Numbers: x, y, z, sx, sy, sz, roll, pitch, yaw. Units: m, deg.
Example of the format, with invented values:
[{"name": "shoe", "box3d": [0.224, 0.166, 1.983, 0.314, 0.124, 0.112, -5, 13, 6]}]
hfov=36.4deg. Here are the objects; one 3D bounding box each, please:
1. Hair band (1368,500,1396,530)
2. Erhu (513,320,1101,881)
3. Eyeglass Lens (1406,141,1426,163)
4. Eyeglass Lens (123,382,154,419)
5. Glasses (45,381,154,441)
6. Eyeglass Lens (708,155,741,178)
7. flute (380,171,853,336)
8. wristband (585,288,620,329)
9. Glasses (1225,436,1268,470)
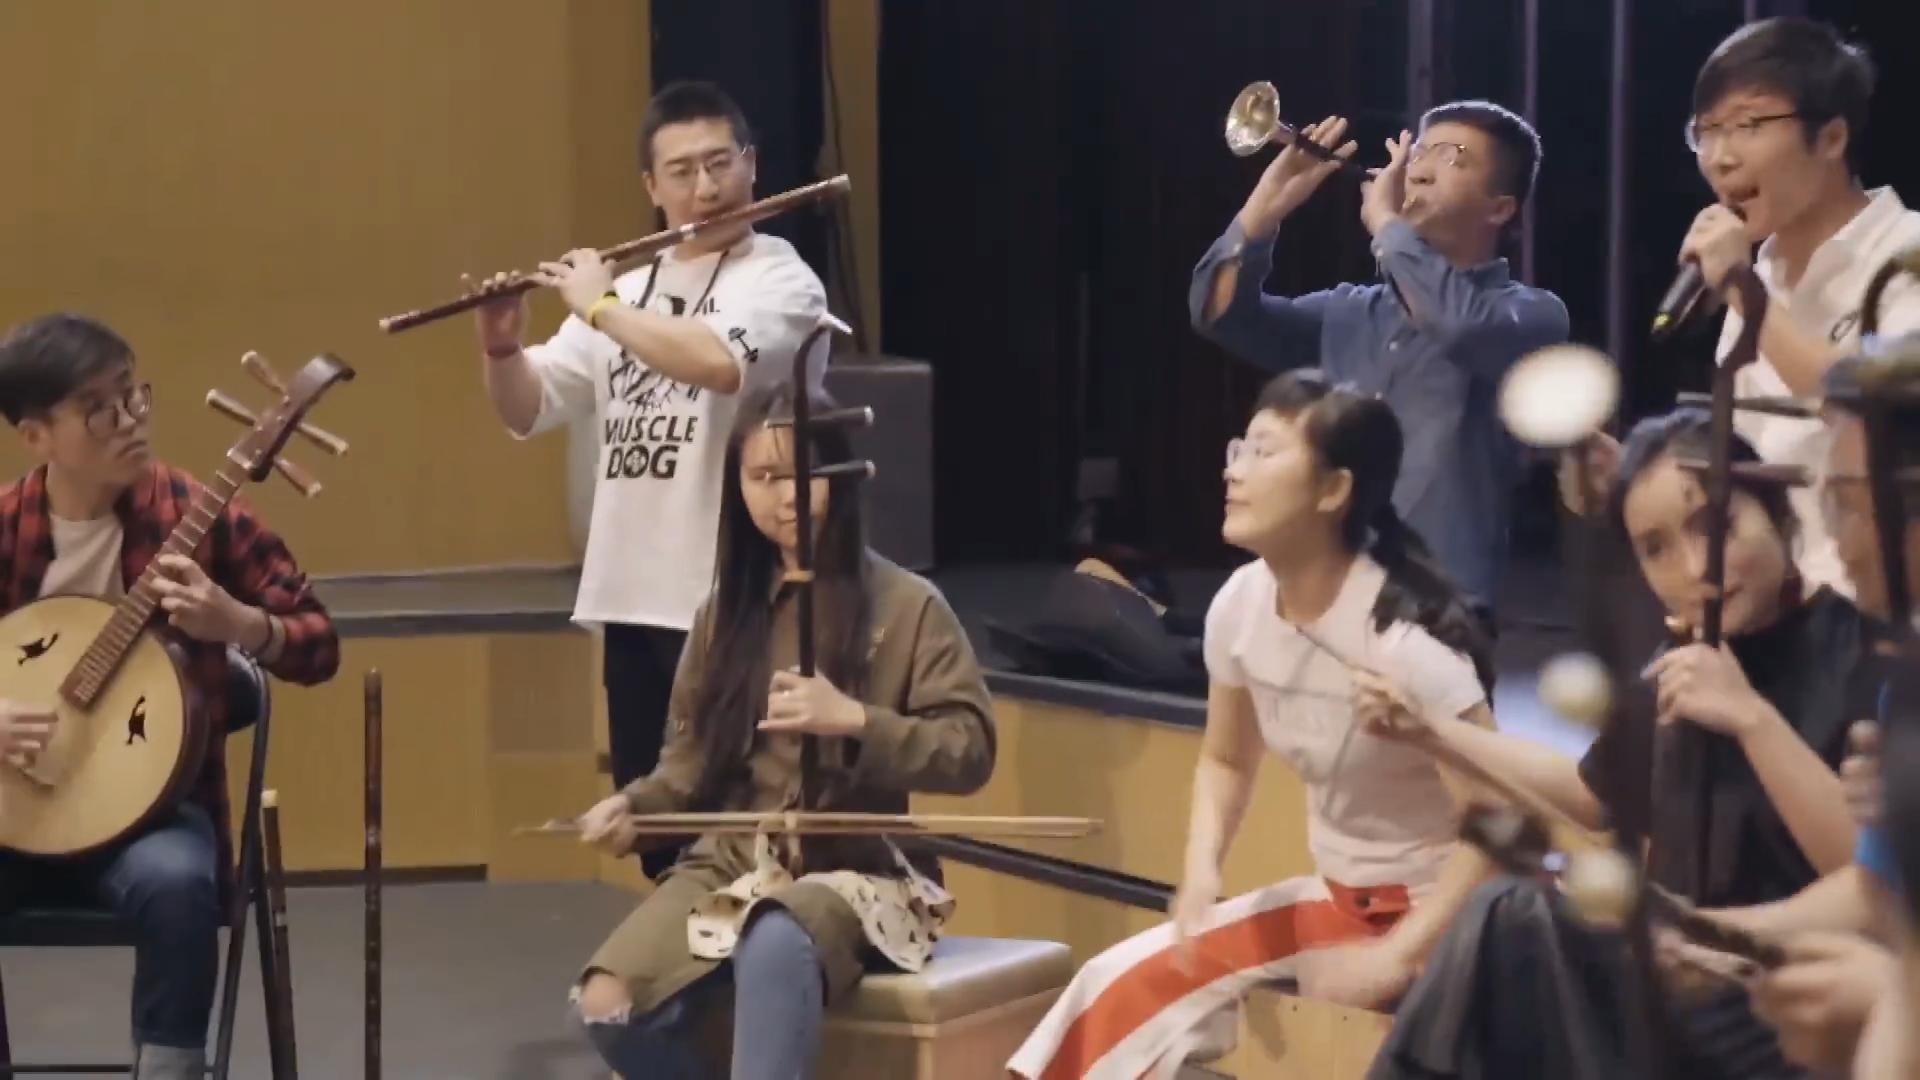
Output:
[{"name": "Hair band", "box3d": [0.973, -0.060, 6.693, 0.067, 0.058, 0.017, -4, -7, -13]}, {"name": "Erhu", "box3d": [-0.465, 0.023, 7.674, 1.151, 1.614, 0.910, 0, 0, 21]}, {"name": "Eyeglass Lens", "box3d": [1.096, -0.928, 7.003, 0.046, 0.045, 0.045, -3, -10, 23]}, {"name": "Eyeglass Lens", "box3d": [-2.071, -0.345, 7.376, 0.071, 0.089, 0.041, -15, -52, 14]}, {"name": "Glasses", "box3d": [-2.138, -0.323, 7.333, 0.143, 0.046, 0.136, 3, 28, 39]}, {"name": "Eyeglass Lens", "box3d": [-0.602, -0.956, 7.451, 0.052, 0.038, 0.057, 0, 16, 5]}, {"name": "flute", "box3d": [-0.833, -0.735, 7.516, 1.228, 0.291, 0.367, -6, -8, 13]}, {"name": "wristband", "box3d": [-0.902, -0.590, 7.440, 0.067, 0.090, 0.090, 44, -2, -16]}, {"name": "Glasses", "box3d": [0.658, -0.215, 6.789, 0.090, 0.063, 0.088, 2, -11, 1]}]
